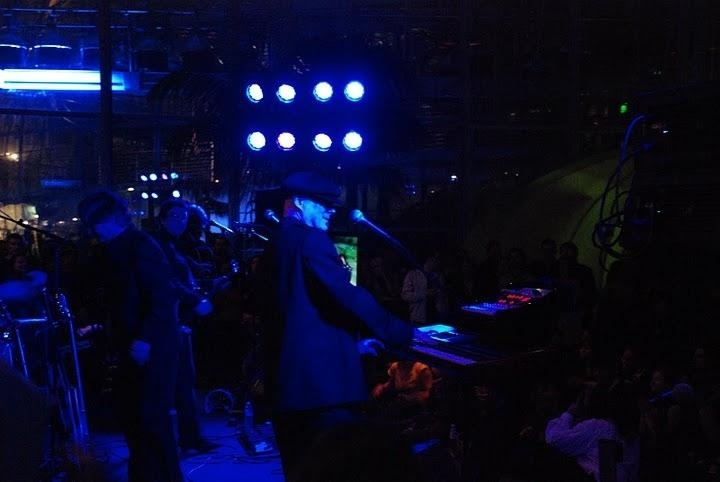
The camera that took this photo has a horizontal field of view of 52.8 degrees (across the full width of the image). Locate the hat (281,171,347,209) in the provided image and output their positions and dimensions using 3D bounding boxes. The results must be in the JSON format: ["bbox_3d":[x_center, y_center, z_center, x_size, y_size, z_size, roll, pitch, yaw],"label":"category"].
[{"bbox_3d":[-0.444,-0.513,6.984,0.439,0.166,0.383,6,5,-25],"label":"hat"}]
